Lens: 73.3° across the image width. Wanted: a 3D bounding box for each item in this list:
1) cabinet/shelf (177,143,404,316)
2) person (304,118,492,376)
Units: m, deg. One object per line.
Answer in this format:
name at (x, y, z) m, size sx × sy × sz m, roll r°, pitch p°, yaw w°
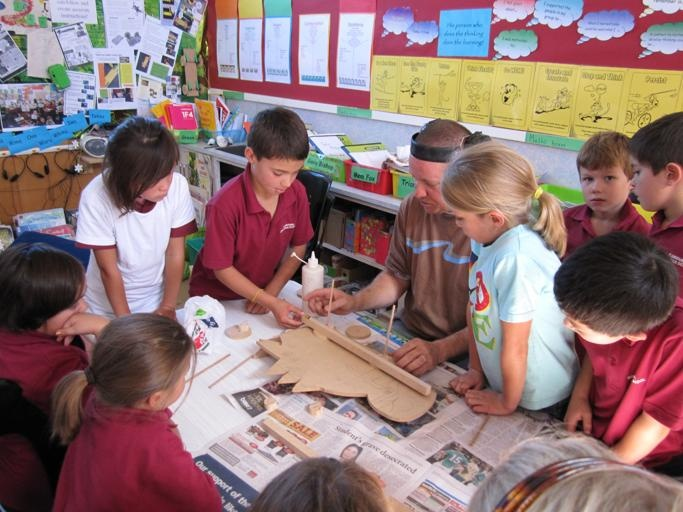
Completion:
cabinet/shelf at (-0.179, -0.128, 2.225) m, size 0.878 × 0.647 × 0.316 m, roll 40°, pitch 34°, yaw 23°
person at (0.274, -0.054, 1.808) m, size 0.650 × 0.883 × 0.670 m, roll -25°, pitch 31°, yaw -38°
